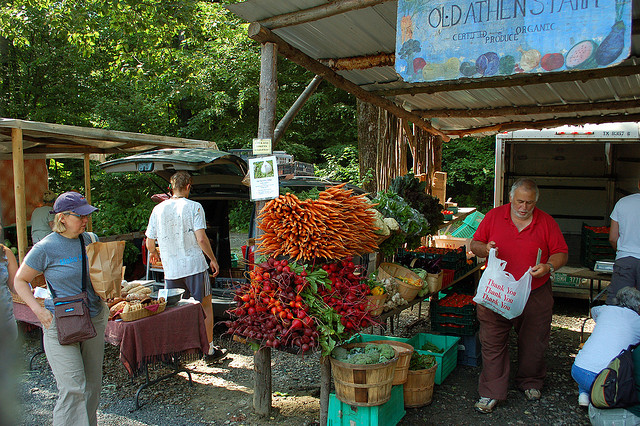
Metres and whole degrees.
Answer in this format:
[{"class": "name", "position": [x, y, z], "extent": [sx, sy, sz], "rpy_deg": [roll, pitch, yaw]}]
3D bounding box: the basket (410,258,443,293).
[{"class": "basket", "position": [1.443, 0.865, 6.861], "extent": [0.432, 0.379, 0.596], "rpy_deg": [3, 7, 27]}]

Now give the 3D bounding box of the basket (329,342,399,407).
[{"class": "basket", "position": [0.494, 1.794, 5.621], "extent": [0.804, 0.512, 0.770], "rpy_deg": [-1, 4, 13]}]

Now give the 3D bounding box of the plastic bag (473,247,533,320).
[{"class": "plastic bag", "position": [2.243, 0.859, 6.098], "extent": [0.725, 0.821, 0.323], "rpy_deg": [24, 11, 22]}]

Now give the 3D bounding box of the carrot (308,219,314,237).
[{"class": "carrot", "position": [-0.108, 0.159, 5.307], "extent": [0.034, 0.195, 0.050], "rpy_deg": [1, -1, -17]}]

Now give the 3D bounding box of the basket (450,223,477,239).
[{"class": "basket", "position": [3.659, 0.521, 12.748], "extent": [0.705, 0.380, 1.058], "rpy_deg": [-3, 9, 11]}]

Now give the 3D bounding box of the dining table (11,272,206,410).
[{"class": "dining table", "position": [-2.924, 1.647, 7.309], "extent": [3.001, 1.218, 1.303], "rpy_deg": [11, 13, 42]}]

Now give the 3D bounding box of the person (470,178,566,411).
[{"class": "person", "position": [2.483, 0.959, 6.287], "extent": [1.112, 2.754, 0.791], "rpy_deg": [0, 5, 8]}]

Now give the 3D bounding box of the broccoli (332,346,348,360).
[{"class": "broccoli", "position": [0.196, 1.524, 5.445], "extent": [0.134, 0.041, 0.133], "rpy_deg": [-10, 37, -10]}]

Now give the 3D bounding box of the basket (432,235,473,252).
[{"class": "basket", "position": [2.985, 0.662, 11.453], "extent": [1.004, 0.362, 0.649], "rpy_deg": [0, 0, 10]}]

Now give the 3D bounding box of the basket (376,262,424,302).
[{"class": "basket", "position": [1.026, 0.899, 6.449], "extent": [0.588, 0.442, 0.639], "rpy_deg": [0, 5, 11]}]

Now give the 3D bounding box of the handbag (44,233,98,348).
[{"class": "handbag", "position": [-2.635, 0.819, 5.327], "extent": [0.435, 1.179, 0.292], "rpy_deg": [-4, 6, -29]}]

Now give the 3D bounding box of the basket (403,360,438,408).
[{"class": "basket", "position": [1.158, 2.140, 6.298], "extent": [0.583, 0.453, 0.595], "rpy_deg": [-5, -4, 18]}]

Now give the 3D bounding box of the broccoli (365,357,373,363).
[{"class": "broccoli", "position": [0.507, 1.555, 5.305], "extent": [0.055, 0.022, 0.075], "rpy_deg": [6, 1, 20]}]

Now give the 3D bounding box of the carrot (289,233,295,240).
[{"class": "carrot", "position": [-0.306, 0.252, 5.353], "extent": [0.035, 0.073, 0.024], "rpy_deg": [4, -6, -2]}]

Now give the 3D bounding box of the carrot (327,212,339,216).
[{"class": "carrot", "position": [0.132, 0.015, 5.367], "extent": [0.117, 0.035, 0.034], "rpy_deg": [4, 4, 3]}]

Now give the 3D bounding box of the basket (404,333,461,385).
[{"class": "basket", "position": [1.535, 1.986, 7.042], "extent": [0.757, 0.458, 1.125], "rpy_deg": [-2, -7, 33]}]

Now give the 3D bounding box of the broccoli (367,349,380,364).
[{"class": "broccoli", "position": [0.577, 1.532, 5.372], "extent": [0.111, 0.099, 0.101], "rpy_deg": [-28, -17, 37]}]

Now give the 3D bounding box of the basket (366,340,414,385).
[{"class": "basket", "position": [0.837, 1.658, 5.719], "extent": [0.464, 0.289, 0.471], "rpy_deg": [-2, -1, 33]}]

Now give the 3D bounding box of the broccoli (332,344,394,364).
[{"class": "broccoli", "position": [0.464, 1.515, 5.469], "extent": [0.675, 0.114, 0.425], "rpy_deg": [-1, 4, -2]}]

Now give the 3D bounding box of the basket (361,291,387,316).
[{"class": "basket", "position": [0.626, 1.026, 5.715], "extent": [0.242, 0.187, 0.251], "rpy_deg": [0, -4, -6]}]

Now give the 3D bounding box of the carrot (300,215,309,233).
[{"class": "carrot", "position": [-0.177, 0.129, 5.333], "extent": [0.140, 0.143, 0.048], "rpy_deg": [-3, 1, 24]}]

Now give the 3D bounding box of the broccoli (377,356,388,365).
[{"class": "broccoli", "position": [0.650, 1.558, 5.339], "extent": [0.093, 0.040, 0.138], "rpy_deg": [1, 5, 24]}]
